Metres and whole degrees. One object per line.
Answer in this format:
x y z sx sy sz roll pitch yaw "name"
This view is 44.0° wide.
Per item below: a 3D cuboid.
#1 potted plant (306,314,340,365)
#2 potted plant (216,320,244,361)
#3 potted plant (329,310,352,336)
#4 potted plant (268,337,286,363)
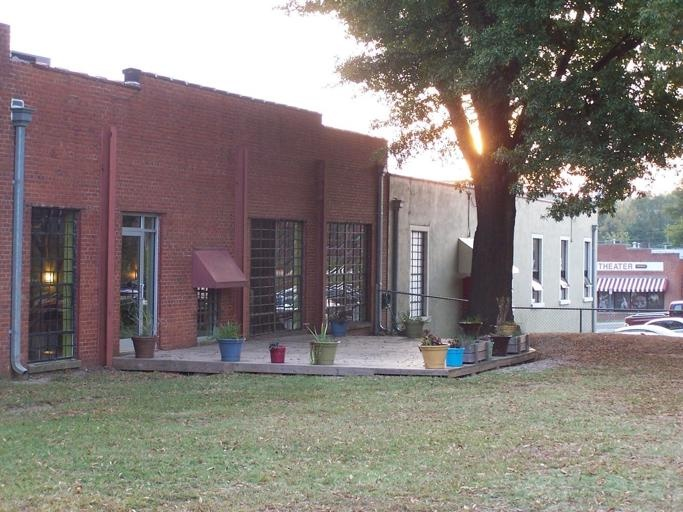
-0.380 1.765 17.290 0.822 0.919 0.718 0 -7 0 "potted plant"
-2.221 1.729 17.387 0.762 0.901 0.706 4 -5 -41 "potted plant"
0.048 1.835 22.937 0.539 0.630 0.537 -7 -9 44 "potted plant"
-1.268 1.971 17.103 0.342 0.470 0.434 3 -6 -33 "potted plant"
